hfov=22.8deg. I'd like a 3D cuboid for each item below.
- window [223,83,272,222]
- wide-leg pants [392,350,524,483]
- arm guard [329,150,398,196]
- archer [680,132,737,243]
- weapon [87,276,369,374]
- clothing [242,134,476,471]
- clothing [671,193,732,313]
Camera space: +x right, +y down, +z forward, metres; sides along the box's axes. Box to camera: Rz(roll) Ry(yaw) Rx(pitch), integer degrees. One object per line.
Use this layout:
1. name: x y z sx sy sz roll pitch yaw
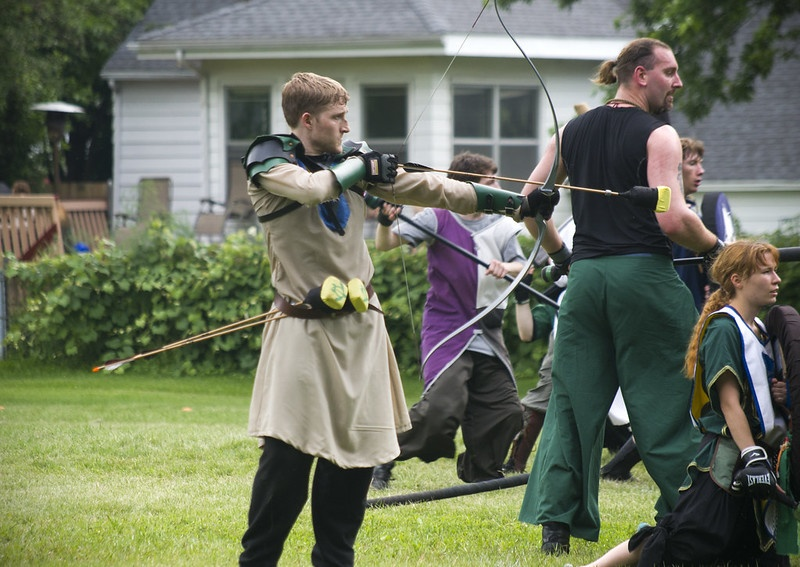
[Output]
1. window: -1.896 -1.514 24.564 0.724 2.004 0.170 -4 28 -14
2. wide-leg pants: 0.499 1.173 17.974 1.129 1.255 0.870 9 -13 -18
3. arm guard: -0.282 -0.891 15.819 0.498 0.229 0.288 -15 36 -28
4. archer: 2.693 -0.810 17.491 0.203 0.817 0.862 -10 7 14
5. weapon: -1.643 0.403 18.959 2.187 0.302 0.517 -14 -25 3
6. clothing: -0.320 0.208 16.047 1.800 2.632 1.810 -1 -2 -34
7. clothing: 2.752 -0.278 17.568 0.226 0.897 0.952 -4 3 25
